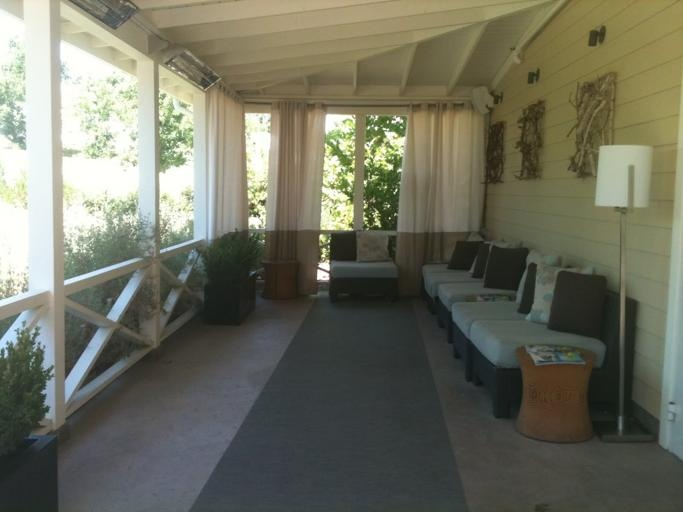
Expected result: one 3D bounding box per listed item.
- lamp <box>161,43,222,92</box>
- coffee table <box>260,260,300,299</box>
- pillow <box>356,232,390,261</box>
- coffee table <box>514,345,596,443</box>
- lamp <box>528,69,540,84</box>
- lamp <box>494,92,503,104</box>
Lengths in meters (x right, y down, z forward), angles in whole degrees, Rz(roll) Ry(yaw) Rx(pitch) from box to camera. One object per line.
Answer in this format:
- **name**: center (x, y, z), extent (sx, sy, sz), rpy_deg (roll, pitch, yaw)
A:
- **lamp**: center (-1.666, -2.004, 5.502), extent (0.223, 0.230, 1.171), rpy_deg (11, 4, 7)
- **coffee table**: center (-0.942, 0.303, 7.843), extent (0.578, 0.581, 0.580), rpy_deg (1, 13, -4)
- **pillow**: center (0.453, -0.137, 7.891), extent (0.393, 0.415, 0.145), rpy_deg (2, -32, -3)
- **coffee table**: center (1.479, 0.960, 3.847), extent (0.571, 0.639, 0.588), rpy_deg (0, 3, 9)
- **lamp**: center (2.201, -2.059, 5.928), extent (0.110, 0.162, 0.230), rpy_deg (2, 10, 10)
- **lamp**: center (2.223, -2.233, 7.327), extent (0.135, 0.204, 0.090), rpy_deg (2, 6, 14)
